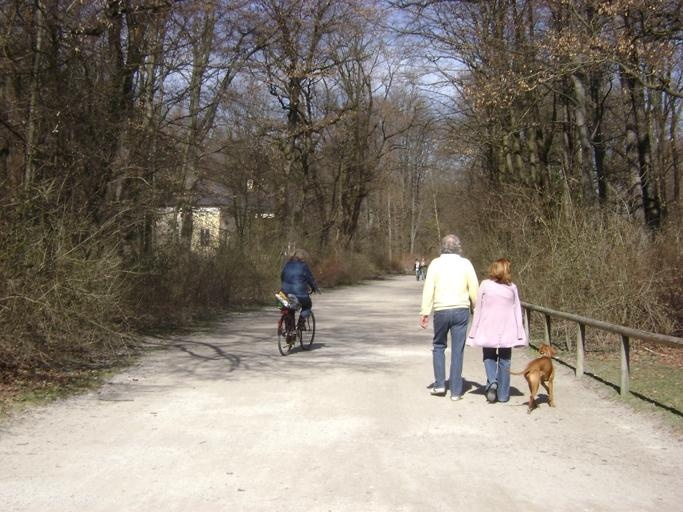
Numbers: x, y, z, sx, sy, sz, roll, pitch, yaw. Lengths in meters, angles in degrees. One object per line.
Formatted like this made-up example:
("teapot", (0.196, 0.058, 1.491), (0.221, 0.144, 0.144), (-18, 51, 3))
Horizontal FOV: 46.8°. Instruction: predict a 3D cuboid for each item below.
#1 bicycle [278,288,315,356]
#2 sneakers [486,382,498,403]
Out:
("bicycle", (-1.064, 1.460, 17.141), (0.609, 0.956, 1.429), (0, 4, 16))
("sneakers", (2.283, 2.057, 11.899), (0.105, 0.331, 0.127), (2, 1, 2))
